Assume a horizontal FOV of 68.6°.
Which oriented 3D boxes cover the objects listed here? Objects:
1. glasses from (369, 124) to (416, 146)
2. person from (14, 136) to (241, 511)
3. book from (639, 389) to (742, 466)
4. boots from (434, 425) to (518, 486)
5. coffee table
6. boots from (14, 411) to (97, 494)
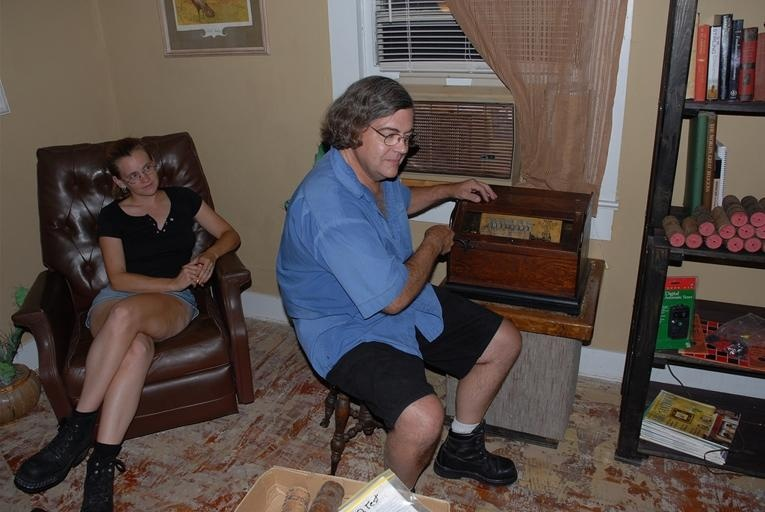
[{"bbox_3d":[0.043,-0.506,2.353,0.176,0.081,0.053,-8,17,-24],"label":"glasses"},{"bbox_3d":[-1.305,0.261,2.911,0.580,1.668,1.181,6,17,24],"label":"person"},{"bbox_3d":[1.527,0.859,2.805,0.307,0.079,0.324,13,28,26],"label":"book"},{"bbox_3d":[0.401,0.930,2.799,0.476,0.358,0.194,2,23,1],"label":"boots"},{"bbox_3d":[0.787,0.484,3.168,0.826,1.010,0.862,8,22,20],"label":"coffee table"},{"bbox_3d":[-1.614,0.992,2.785,0.158,0.265,0.376,37,32,7],"label":"boots"}]
